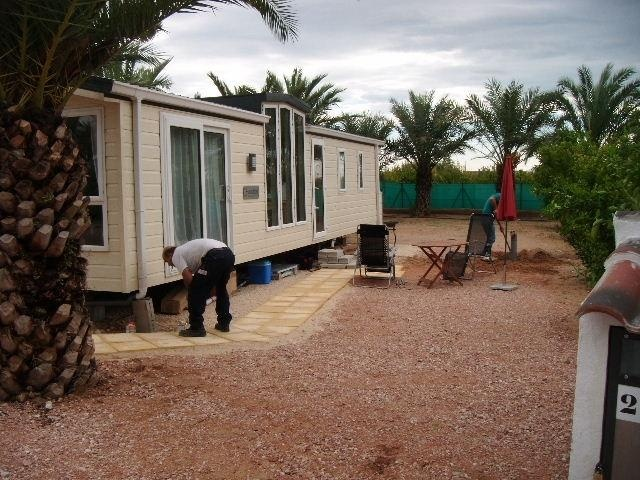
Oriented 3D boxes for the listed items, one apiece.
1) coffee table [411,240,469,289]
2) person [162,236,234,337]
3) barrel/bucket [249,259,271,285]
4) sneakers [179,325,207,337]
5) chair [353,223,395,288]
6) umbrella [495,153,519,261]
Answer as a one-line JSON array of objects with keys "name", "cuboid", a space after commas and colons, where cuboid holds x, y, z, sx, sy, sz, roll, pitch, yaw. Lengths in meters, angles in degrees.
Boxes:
[{"name": "coffee table", "cuboid": [2.689, 0.534, 11.103, 1.187, 0.725, 0.932, 3, 8, 31]}, {"name": "person", "cuboid": [-1.684, 0.688, 6.909, 0.897, 1.380, 0.630, -3, 8, -24]}, {"name": "barrel/bucket", "cuboid": [-1.374, 0.747, 11.006, 0.536, 0.495, 0.427, -1, -1, 4]}, {"name": "sneakers", "cuboid": [-1.765, 1.295, 6.885, 0.366, 0.152, 0.142, 5, 1, 4]}, {"name": "chair", "cuboid": [1.253, 0.341, 11.032, 0.931, 1.369, 1.547, 0, 4, 16]}, {"name": "umbrella", "cuboid": [4.039, -0.825, 10.565, 0.401, 1.978, 0.790, 3, 8, 21]}]
